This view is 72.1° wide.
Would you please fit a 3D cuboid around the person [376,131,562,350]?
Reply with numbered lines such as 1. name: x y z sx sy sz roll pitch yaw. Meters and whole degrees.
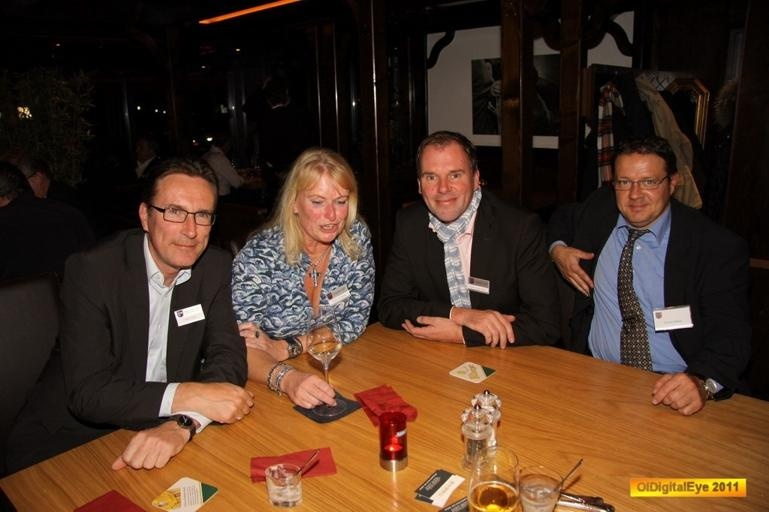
1. person: 0.487 -0.093 3.356 1.137 1.337 0.896 5 18 42

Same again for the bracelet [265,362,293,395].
1. bracelet: -0.540 0.621 2.710 0.060 0.136 0.121 25 40 29

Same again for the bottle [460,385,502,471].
1. bottle: 0.417 0.758 2.286 0.108 0.252 0.237 7 18 28

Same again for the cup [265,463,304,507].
1. cup: -0.400 0.932 2.135 0.153 0.118 0.134 -2 7 -3

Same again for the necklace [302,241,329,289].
1. necklace: -0.422 0.068 3.337 0.140 0.259 0.057 9 2 -4

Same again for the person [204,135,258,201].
1. person: -2.358 -1.401 7.964 0.536 0.861 0.671 -10 14 -14

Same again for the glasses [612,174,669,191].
1. glasses: 1.555 -0.441 3.189 0.307 0.077 0.123 0 13 23

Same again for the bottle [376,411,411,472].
1. bottle: 0.038 0.789 2.300 0.137 0.218 0.175 -5 12 -2
